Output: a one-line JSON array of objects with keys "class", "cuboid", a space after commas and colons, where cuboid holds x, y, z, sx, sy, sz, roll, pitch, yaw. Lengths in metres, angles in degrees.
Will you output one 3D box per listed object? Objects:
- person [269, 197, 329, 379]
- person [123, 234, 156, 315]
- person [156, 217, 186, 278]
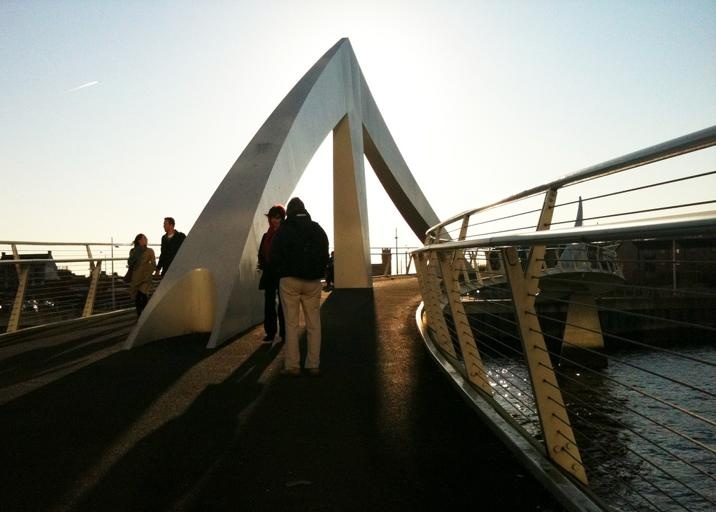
[{"class": "person", "cuboid": [-0.640, 0.302, 4.937, 0.607, 1.998, 0.352, -2, -3, -3]}, {"class": "person", "cuboid": [-4.164, 0.392, 8.371, 0.538, 1.595, 0.591, 0, -3, -28]}, {"class": "person", "cuboid": [-3.659, -0.196, 8.462, 0.864, 1.042, 0.378, -4, -4, 42]}]
